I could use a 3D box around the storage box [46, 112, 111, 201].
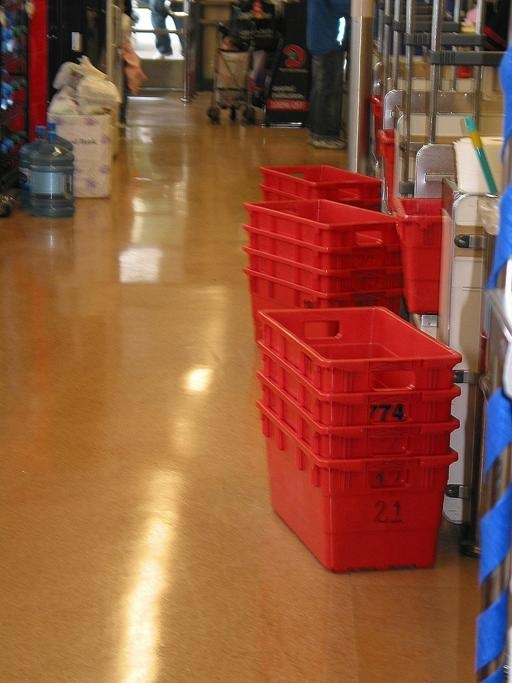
[{"bbox_3d":[-1.432,-1.551,5.713,0.602,0.927,0.595,-1,13,-18],"label":"storage box"}]

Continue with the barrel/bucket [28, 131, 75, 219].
[{"bbox_3d":[-1.633,-1.296,5.402,0.413,0.653,0.702,0,11,-14],"label":"barrel/bucket"}]
